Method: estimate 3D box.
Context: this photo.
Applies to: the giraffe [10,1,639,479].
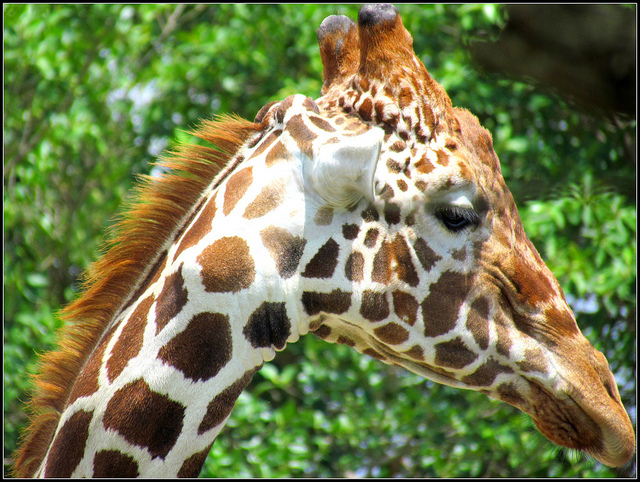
[{"bbox_3d":[0.015,0.491,9.001,3.589,3.377,2.902,-15,82,0],"label":"giraffe"}]
